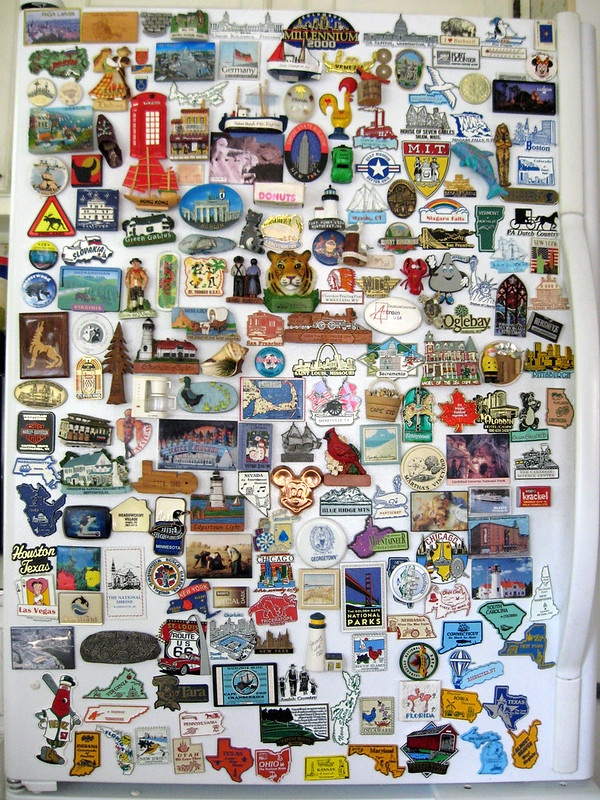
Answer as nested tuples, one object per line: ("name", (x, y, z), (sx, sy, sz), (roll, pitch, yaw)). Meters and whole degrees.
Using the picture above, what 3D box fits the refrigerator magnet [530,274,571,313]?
("refrigerator magnet", (0.467, -0.196, 1.806), (0.071, 0.010, 0.064), (0, 88, -4))
